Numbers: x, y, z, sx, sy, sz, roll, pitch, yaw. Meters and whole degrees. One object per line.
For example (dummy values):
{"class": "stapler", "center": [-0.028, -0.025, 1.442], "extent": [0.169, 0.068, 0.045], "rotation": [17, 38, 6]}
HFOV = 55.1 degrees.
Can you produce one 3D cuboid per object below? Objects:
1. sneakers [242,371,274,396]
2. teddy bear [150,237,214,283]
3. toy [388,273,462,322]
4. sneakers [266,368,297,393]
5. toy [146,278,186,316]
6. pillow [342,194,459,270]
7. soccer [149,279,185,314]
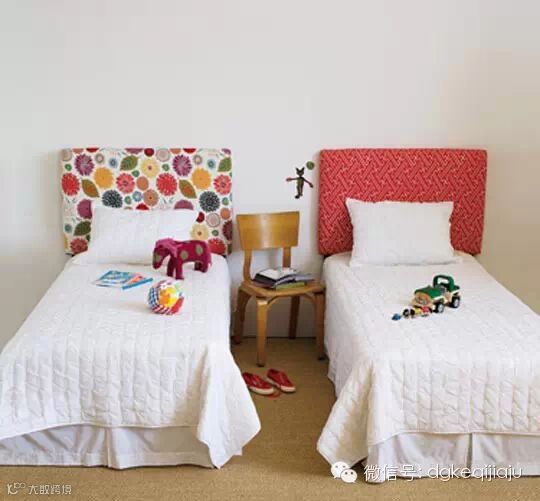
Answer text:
{"class": "sneakers", "center": [-0.076, 0.743, 2.950], "extent": [0.207, 0.083, 0.091], "rotation": [10, 13, 37]}
{"class": "teddy bear", "center": [-0.497, 0.038, 2.976], "extent": [0.336, 0.236, 0.132], "rotation": [-6, 20, -24]}
{"class": "toy", "center": [0.816, 0.241, 2.583], "extent": [0.476, 0.201, 0.171], "rotation": [-15, 20, -29]}
{"class": "sneakers", "center": [0.064, 0.740, 2.967], "extent": [0.074, 0.076, 0.200], "rotation": [4, 4, -33]}
{"class": "toy", "center": [-0.487, 0.216, 2.386], "extent": [0.151, 0.162, 0.154], "rotation": [1, 44, -9]}
{"class": "pillow", "center": [0.824, -0.118, 3.297], "extent": [0.467, 0.321, 0.114], "rotation": [0, -20, 0]}
{"class": "soccer", "center": [-0.494, 0.215, 2.460], "extent": [0.149, 0.163, 0.147], "rotation": [-1, 15, -10]}
